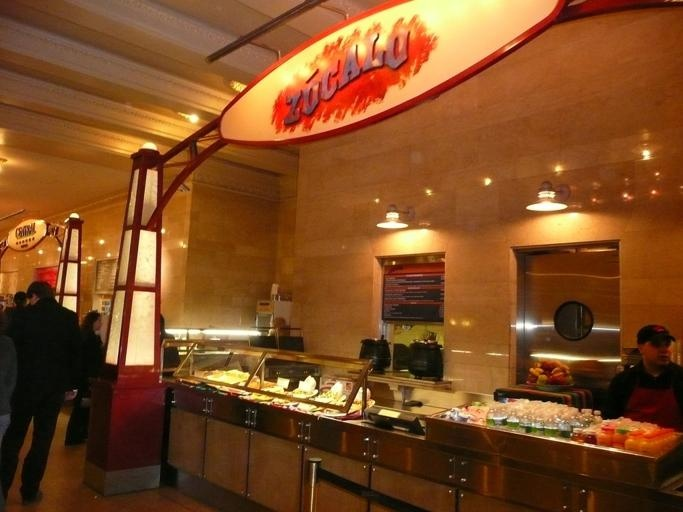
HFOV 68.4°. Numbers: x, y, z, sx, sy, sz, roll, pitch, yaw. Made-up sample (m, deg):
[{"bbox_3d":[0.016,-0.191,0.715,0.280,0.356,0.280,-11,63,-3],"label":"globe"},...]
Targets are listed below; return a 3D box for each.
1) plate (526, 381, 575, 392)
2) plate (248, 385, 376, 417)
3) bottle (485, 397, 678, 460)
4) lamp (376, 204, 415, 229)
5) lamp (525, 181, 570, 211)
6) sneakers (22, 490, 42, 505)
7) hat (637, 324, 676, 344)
[{"bbox_3d":[1.823,1.137,4.403,0.390,0.045,0.284,-1,-8,16],"label":"plate"},{"bbox_3d":[-0.300,1.172,4.237,1.186,0.221,0.252,-5,-10,39],"label":"plate"},{"bbox_3d":[1.442,1.031,3.108,1.046,0.158,0.438,-4,-10,37],"label":"bottle"},{"bbox_3d":[0.695,-0.509,6.518,0.278,0.242,0.444,-2,-6,38],"label":"lamp"},{"bbox_3d":[2.170,-0.604,5.184,0.374,0.235,0.341,6,-5,-27],"label":"lamp"},{"bbox_3d":[-2.824,2.205,4.626,0.130,0.089,0.169,-5,-10,41],"label":"sneakers"},{"bbox_3d":[2.246,0.562,3.613,0.167,0.112,0.221,5,-20,-6],"label":"hat"}]
